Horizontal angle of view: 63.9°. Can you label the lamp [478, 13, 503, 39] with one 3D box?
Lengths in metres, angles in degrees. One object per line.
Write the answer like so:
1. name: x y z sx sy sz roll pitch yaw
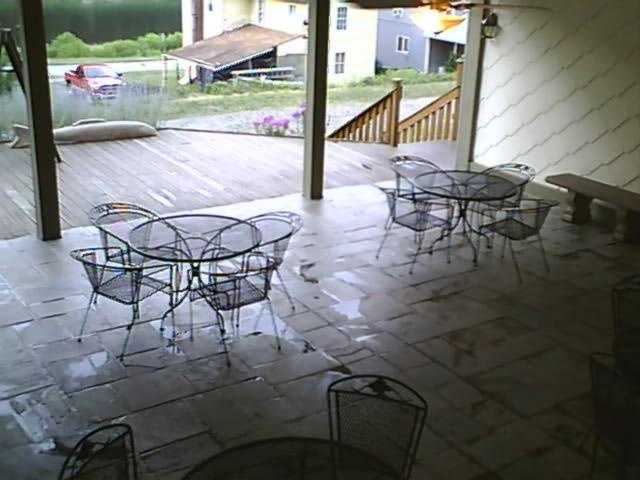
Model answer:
1. lamp: 2.692 -3.358 8.012 0.322 0.371 0.172 7 26 12
